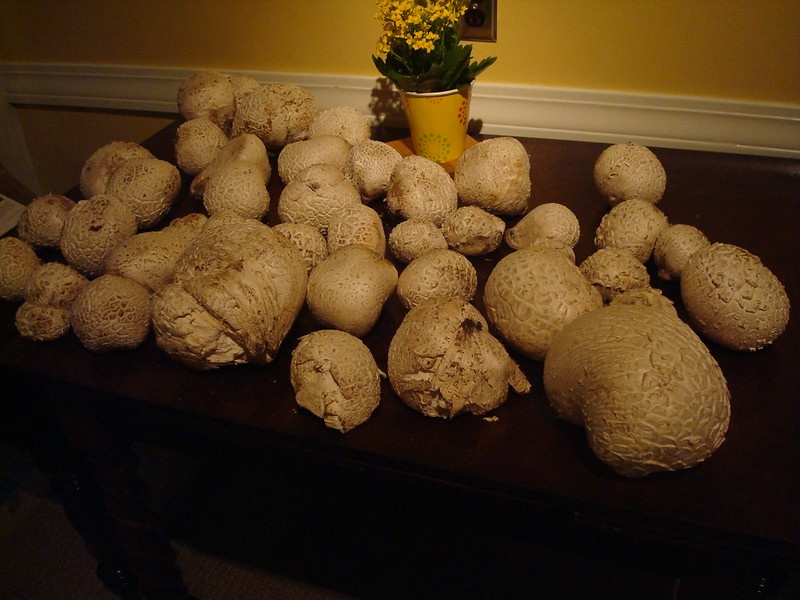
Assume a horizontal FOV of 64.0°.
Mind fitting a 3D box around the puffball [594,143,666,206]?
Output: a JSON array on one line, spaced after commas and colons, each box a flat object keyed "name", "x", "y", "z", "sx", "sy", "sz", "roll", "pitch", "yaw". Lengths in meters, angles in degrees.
[{"name": "puffball", "x": 0.777, "y": -0.444, "z": 2.242, "sx": 0.186, "sy": 0.207, "sz": 0.216, "roll": -6, "pitch": 23, "yaw": -26}]

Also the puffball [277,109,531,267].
[{"name": "puffball", "x": -0.001, "y": -0.419, "z": 2.238, "sx": 0.728, "sy": 0.280, "sz": 0.494, "roll": 7, "pitch": 47, "yaw": 5}]

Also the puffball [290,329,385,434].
[{"name": "puffball", "x": -0.181, "y": 0.207, "z": 1.764, "sx": 0.260, "sy": 0.158, "sz": 0.218, "roll": 23, "pitch": 50, "yaw": 20}]

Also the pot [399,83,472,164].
[{"name": "pot", "x": 0.143, "y": -0.711, "z": 2.536, "sx": 0.258, "sy": 0.263, "sz": 0.266, "roll": -6, "pitch": 35, "yaw": 5}]

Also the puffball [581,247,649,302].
[{"name": "puffball", "x": 0.634, "y": -0.074, "z": 1.900, "sx": 0.159, "sy": 0.157, "sz": 0.152, "roll": 9, "pitch": 89, "yaw": 24}]

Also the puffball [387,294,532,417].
[{"name": "puffball", "x": 0.135, "y": 0.163, "z": 1.761, "sx": 0.339, "sy": 0.211, "sz": 0.262, "roll": 18, "pitch": 48, "yaw": 15}]

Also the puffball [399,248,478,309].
[{"name": "puffball", "x": 0.108, "y": -0.063, "z": 1.910, "sx": 0.186, "sy": 0.188, "sz": 0.162, "roll": -7, "pitch": -1, "yaw": 10}]

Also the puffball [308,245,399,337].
[{"name": "puffball", "x": -0.164, "y": -0.029, "z": 1.928, "sx": 0.232, "sy": 0.176, "sz": 0.215, "roll": 13, "pitch": 47, "yaw": 11}]

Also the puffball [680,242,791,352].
[{"name": "puffball", "x": 0.932, "y": -0.016, "z": 1.895, "sx": 0.254, "sy": 0.184, "sz": 0.306, "roll": -39, "pitch": 76, "yaw": 5}]
